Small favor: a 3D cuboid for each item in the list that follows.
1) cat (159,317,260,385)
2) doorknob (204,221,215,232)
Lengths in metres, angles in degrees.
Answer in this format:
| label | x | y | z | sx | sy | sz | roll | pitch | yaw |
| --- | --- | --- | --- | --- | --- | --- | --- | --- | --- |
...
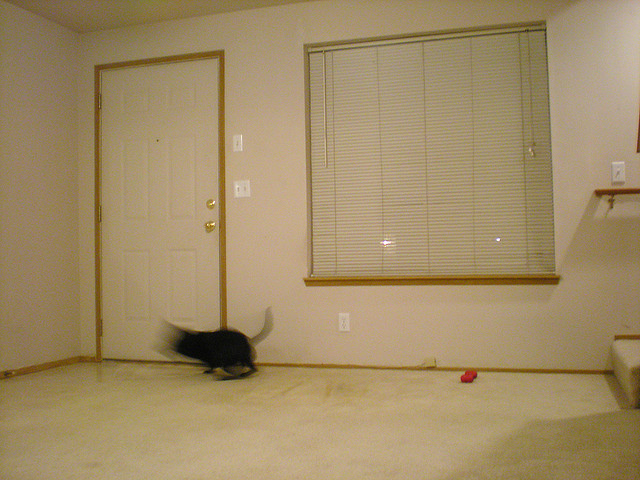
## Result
| label | x | y | z | sx | sy | sz | roll | pitch | yaw |
| --- | --- | --- | --- | --- | --- | --- | --- | --- | --- |
| cat | -0.765 | 0.816 | 4.084 | 0.394 | 0.304 | 0.718 | -4 | 8 | -43 |
| doorknob | -0.869 | -0.106 | 4.158 | 0.071 | 0.071 | 0.021 | 4 | 1 | 13 |
